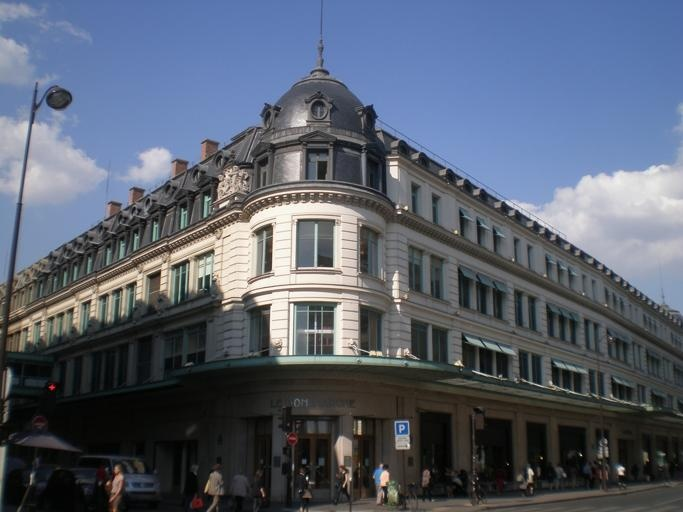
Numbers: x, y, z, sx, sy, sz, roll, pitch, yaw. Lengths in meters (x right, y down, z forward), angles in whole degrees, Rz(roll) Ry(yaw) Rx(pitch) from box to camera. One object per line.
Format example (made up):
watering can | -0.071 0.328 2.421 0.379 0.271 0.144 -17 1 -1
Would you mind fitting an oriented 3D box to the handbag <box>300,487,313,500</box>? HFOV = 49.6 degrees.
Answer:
handbag | -1.678 11.561 35.834 0.398 0.556 0.732 5 -24 -10
